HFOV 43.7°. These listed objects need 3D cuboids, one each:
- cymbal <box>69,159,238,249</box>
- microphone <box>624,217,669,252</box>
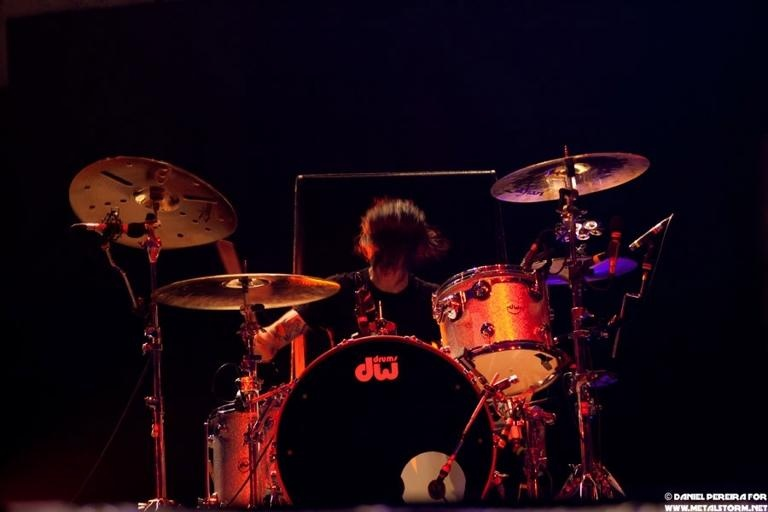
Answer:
[{"bbox_3d":[-1.678,-0.380,6.978,1.175,0.292,0.776,7,-29,-17],"label":"cymbal"},{"bbox_3d":[1.953,-0.119,7.098,0.130,0.118,0.568,35,-27,-2],"label":"microphone"}]
